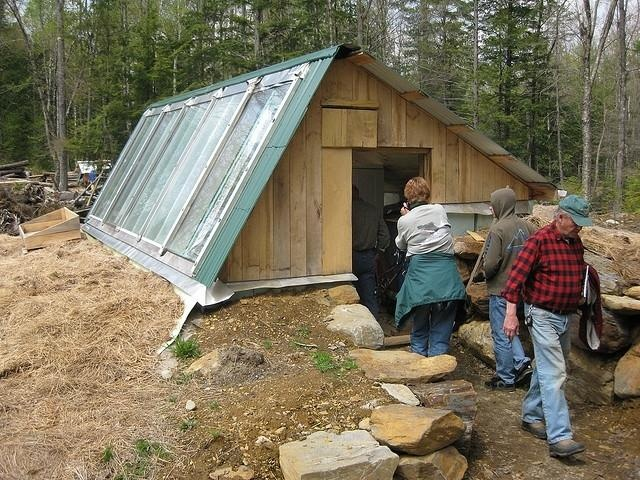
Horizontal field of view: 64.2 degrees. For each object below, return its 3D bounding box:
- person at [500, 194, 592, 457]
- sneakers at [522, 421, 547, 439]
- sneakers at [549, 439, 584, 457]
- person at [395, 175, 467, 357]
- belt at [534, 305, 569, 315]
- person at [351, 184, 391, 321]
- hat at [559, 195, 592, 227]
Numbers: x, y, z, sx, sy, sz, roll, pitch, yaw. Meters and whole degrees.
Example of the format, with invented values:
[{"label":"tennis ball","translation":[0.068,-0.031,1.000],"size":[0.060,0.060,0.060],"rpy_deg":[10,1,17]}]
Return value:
[{"label":"person","translation":[2.286,0.856,5.181],"size":[0.768,2.603,0.682],"rpy_deg":[2,8,24]},{"label":"sneakers","translation":[2.301,2.035,5.458],"size":[0.103,0.109,0.236],"rpy_deg":[-1,0,-25]},{"label":"sneakers","translation":[2.391,2.049,5.025],"size":[0.151,0.173,0.336],"rpy_deg":[2,-21,-38]},{"label":"person","translation":[1.438,0.411,6.648],"size":[0.878,2.429,0.559],"rpy_deg":[0,8,13]},{"label":"belt","translation":[2.351,0.697,5.154],"size":[0.173,0.058,0.149],"rpy_deg":[4,-2,-7]},{"label":"person","translation":[0.716,0.258,8.968],"size":[0.990,2.723,0.728],"rpy_deg":[3,20,16]},{"label":"hat","translation":[2.549,-0.284,5.092],"size":[0.296,0.331,0.305],"rpy_deg":[2,8,26]}]
